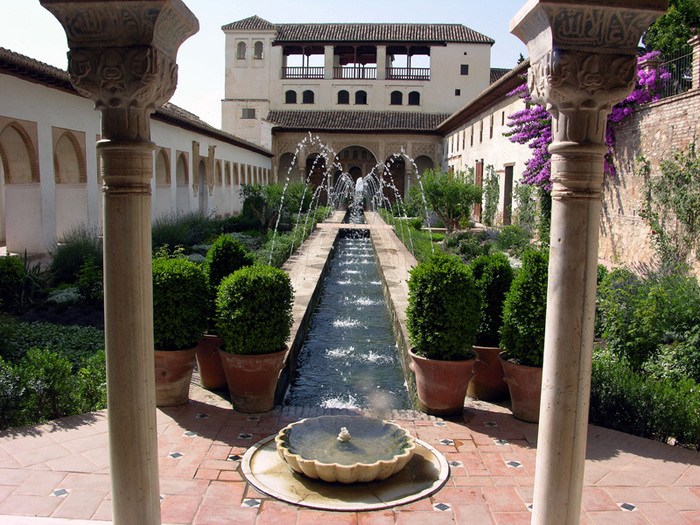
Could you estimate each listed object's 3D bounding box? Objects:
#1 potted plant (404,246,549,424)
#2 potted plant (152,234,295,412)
[{"bbox_3d":[1.193,0.597,5.113,1.197,1.483,0.985,3,10,12],"label":"potted plant"},{"bbox_3d":[-1.283,0.636,5.156,1.205,1.337,1.408,-6,12,-36],"label":"potted plant"}]
